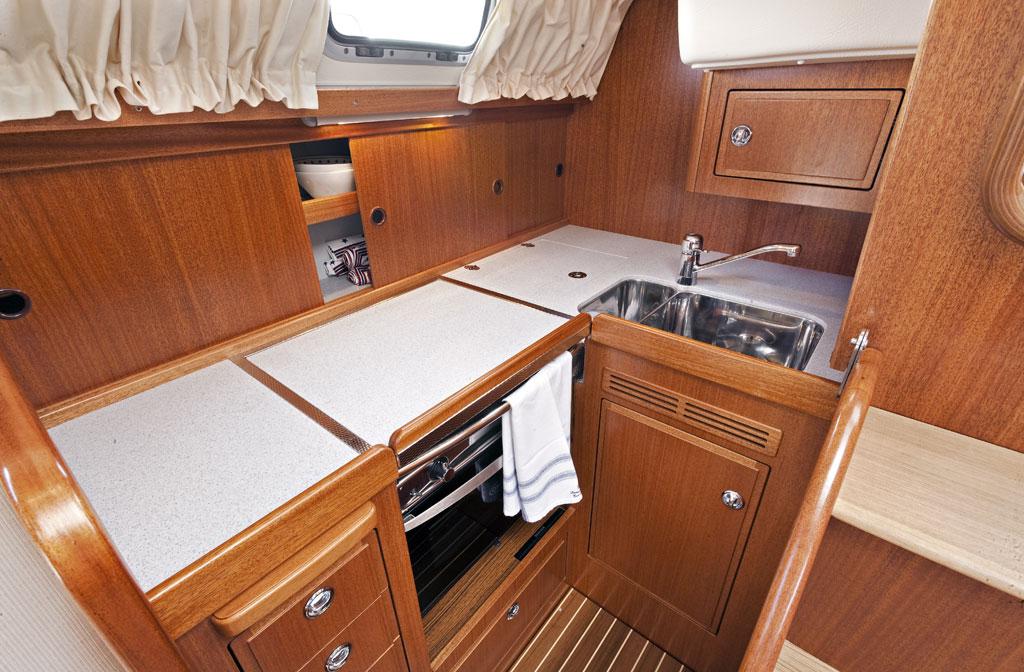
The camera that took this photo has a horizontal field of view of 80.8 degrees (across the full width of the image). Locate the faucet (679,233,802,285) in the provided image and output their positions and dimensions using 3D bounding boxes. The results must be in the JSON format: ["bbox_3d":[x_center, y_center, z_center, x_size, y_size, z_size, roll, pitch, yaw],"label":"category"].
[{"bbox_3d":[0.927,-0.305,2.393,0.370,0.191,0.078,11,46,20],"label":"faucet"}]

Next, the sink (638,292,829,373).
[{"bbox_3d":[0.864,-0.034,2.269,0.422,0.155,0.328,20,54,29],"label":"sink"}]

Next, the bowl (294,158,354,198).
[{"bbox_3d":[-0.642,-0.527,2.046,0.156,0.085,0.154,-2,33,1],"label":"bowl"}]
